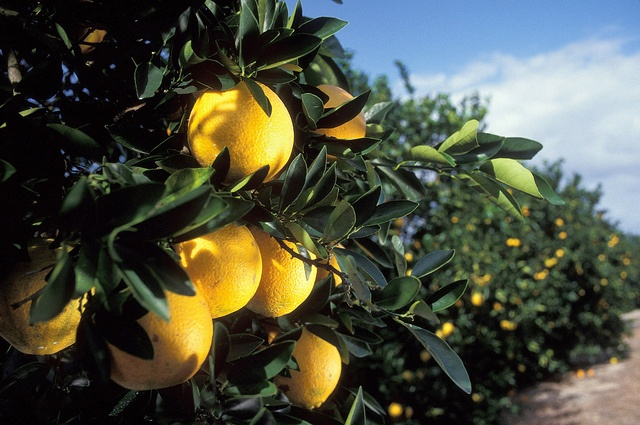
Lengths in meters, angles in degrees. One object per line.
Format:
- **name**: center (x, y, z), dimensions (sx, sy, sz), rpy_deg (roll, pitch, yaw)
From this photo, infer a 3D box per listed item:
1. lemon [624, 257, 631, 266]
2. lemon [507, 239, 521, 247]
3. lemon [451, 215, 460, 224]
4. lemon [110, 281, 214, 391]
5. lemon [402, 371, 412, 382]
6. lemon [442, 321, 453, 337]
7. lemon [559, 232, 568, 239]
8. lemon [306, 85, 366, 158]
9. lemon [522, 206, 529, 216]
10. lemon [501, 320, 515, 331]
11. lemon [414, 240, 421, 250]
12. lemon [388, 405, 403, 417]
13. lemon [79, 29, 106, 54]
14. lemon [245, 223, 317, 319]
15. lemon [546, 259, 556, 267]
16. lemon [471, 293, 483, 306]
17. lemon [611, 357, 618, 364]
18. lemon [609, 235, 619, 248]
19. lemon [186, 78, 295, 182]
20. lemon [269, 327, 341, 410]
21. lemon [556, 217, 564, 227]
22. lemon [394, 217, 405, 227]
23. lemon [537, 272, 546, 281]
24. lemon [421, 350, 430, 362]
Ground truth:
- **lemon**: center (2.614, 0.420, 4.932), dimensions (0.031, 0.065, 0.174), rpy_deg (-11, -11, 35)
- **lemon**: center (1.521, 0.234, 4.530), dimensions (0.124, 0.074, 0.033), rpy_deg (-2, -9, -14)
- **lemon**: center (1.048, 0.058, 4.473), dimensions (0.063, 0.059, 0.050), rpy_deg (-5, -9, 2)
- **lemon**: center (-0.539, 0.372, 1.802), dimensions (0.318, 0.307, 0.279), rpy_deg (-11, 6, -38)
- **lemon**: center (0.630, 1.174, 4.159), dimensions (0.092, 0.072, 0.039), rpy_deg (3, -11, -39)
- **lemon**: center (0.927, 0.847, 4.180), dimensions (0.080, 0.101, 0.235), rpy_deg (-7, -9, 13)
- **lemon**: center (1.970, 0.182, 4.689), dimensions (0.062, 0.065, 0.037), rpy_deg (-4, -9, -4)
- **lemon**: center (0.054, -0.322, 2.116), dimensions (0.166, 0.264, 0.186), rpy_deg (-2, 11, -27)
- **lemon**: center (1.670, -0.013, 4.706), dimensions (0.055, 0.055, 0.033), rpy_deg (-42, -25, 10)
- **lemon**: center (1.411, 0.845, 4.339), dimensions (0.086, 0.070, 0.043), rpy_deg (9, 7, 32)
- **lemon**: center (0.757, 0.246, 4.496), dimensions (0.057, 0.074, 0.049), rpy_deg (-10, -10, 29)
- **lemon**: center (0.522, 1.370, 4.049), dimensions (0.081, 0.085, 0.096), rpy_deg (-9, -5, 2)
- **lemon**: center (-0.771, -0.582, 1.964), dimensions (0.081, 0.085, 0.086), rpy_deg (-1, -10, -23)
- **lemon**: center (-0.111, 0.174, 1.919), dimensions (0.188, 0.295, 0.215), rpy_deg (0, 5, 14)
- **lemon**: center (1.790, 0.387, 4.482), dimensions (0.104, 0.075, 0.037), rpy_deg (-2, -9, -17)
- **lemon**: center (1.156, 0.645, 4.272), dimensions (0.093, 0.113, 0.096), rpy_deg (1, -23, 7)
- **lemon**: center (1.825, 0.917, 3.592), dimensions (0.042, 0.024, 0.042), rpy_deg (-9, -7, -12)
- **lemon**: center (2.470, 0.247, 4.848), dimensions (0.127, 0.079, 0.032), rpy_deg (-25, 7, -38)
- **lemon**: center (-0.262, -0.281, 1.946), dimensions (0.316, 0.309, 0.342), rpy_deg (-4, 11, -28)
- **lemon**: center (-0.022, 0.553, 2.084), dimensions (0.205, 0.249, 0.211), rpy_deg (5, 6, 28)
- **lemon**: center (1.975, 0.083, 4.764), dimensions (0.071, 0.079, 0.055), rpy_deg (-7, -9, 15)
- **lemon**: center (0.609, 0.073, 4.455), dimensions (0.071, 0.067, 0.195), rpy_deg (-7, -9, 12)
- **lemon**: center (1.701, 0.484, 4.429), dimensions (0.105, 0.055, 0.035), rpy_deg (1, -10, -31)
- **lemon**: center (0.772, 1.040, 4.200), dimensions (0.078, 0.087, 0.098), rpy_deg (-3, -9, -8)
